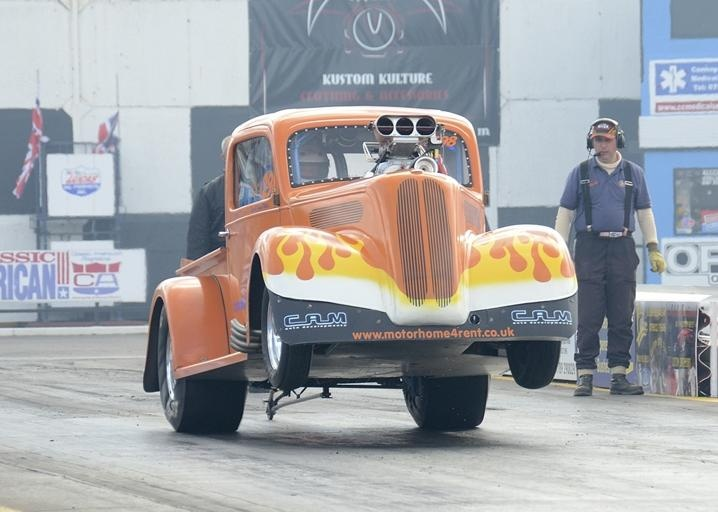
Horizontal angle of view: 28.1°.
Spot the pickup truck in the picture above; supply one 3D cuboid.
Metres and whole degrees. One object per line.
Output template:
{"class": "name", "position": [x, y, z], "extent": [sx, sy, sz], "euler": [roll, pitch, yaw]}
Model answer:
{"class": "pickup truck", "position": [0.013, 0.186, 16.345], "extent": [4.775, 3.715, 2.547], "euler": [-5, 0, 9]}

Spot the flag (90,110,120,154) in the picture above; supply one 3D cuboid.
{"class": "flag", "position": [-6.905, -3.359, 38.725], "extent": [0.557, 1.004, 0.801], "euler": [10, -9, 3]}

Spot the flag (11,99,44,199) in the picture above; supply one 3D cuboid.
{"class": "flag", "position": [-8.798, -2.971, 38.626], "extent": [0.678, 2.721, 1.195], "euler": [-6, 0, -45]}

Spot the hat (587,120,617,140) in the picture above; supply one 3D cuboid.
{"class": "hat", "position": [3.270, -1.728, 19.372], "extent": [0.377, 0.278, 0.278], "euler": [-5, 0, 8]}

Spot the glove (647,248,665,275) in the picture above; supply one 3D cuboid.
{"class": "glove", "position": [4.014, 0.063, 19.591], "extent": [0.252, 0.318, 0.128], "euler": [-3, -9, -33]}
